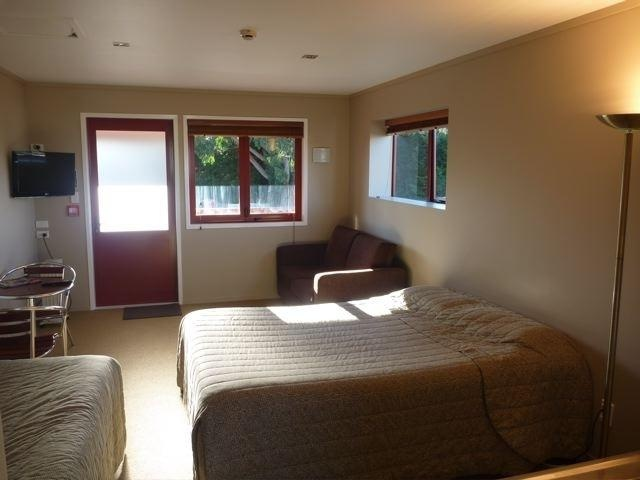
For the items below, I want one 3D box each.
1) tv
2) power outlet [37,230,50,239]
[{"bbox_3d":[-3.229,-0.759,5.568,0.073,0.429,0.571,6,8,37],"label":"tv"},{"bbox_3d":[-3.395,-0.068,5.965,0.161,0.137,0.084,0,9,-17],"label":"power outlet"}]
